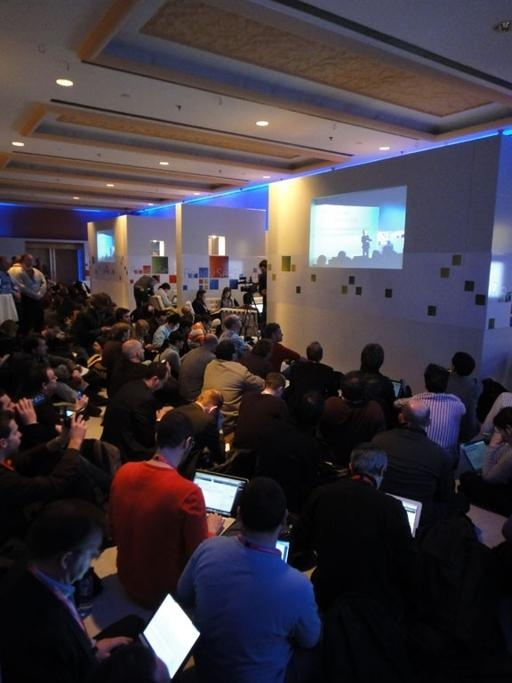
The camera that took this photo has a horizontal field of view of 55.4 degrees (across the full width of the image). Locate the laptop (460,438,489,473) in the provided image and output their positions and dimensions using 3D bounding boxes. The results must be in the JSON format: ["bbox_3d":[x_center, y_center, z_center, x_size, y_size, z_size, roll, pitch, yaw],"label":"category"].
[{"bbox_3d":[1.466,0.761,3.270,0.203,0.189,0.047,-1,-16,-20],"label":"laptop"}]

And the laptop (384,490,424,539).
[{"bbox_3d":[0.708,0.825,2.312,0.134,0.158,0.070,9,12,38],"label":"laptop"}]
